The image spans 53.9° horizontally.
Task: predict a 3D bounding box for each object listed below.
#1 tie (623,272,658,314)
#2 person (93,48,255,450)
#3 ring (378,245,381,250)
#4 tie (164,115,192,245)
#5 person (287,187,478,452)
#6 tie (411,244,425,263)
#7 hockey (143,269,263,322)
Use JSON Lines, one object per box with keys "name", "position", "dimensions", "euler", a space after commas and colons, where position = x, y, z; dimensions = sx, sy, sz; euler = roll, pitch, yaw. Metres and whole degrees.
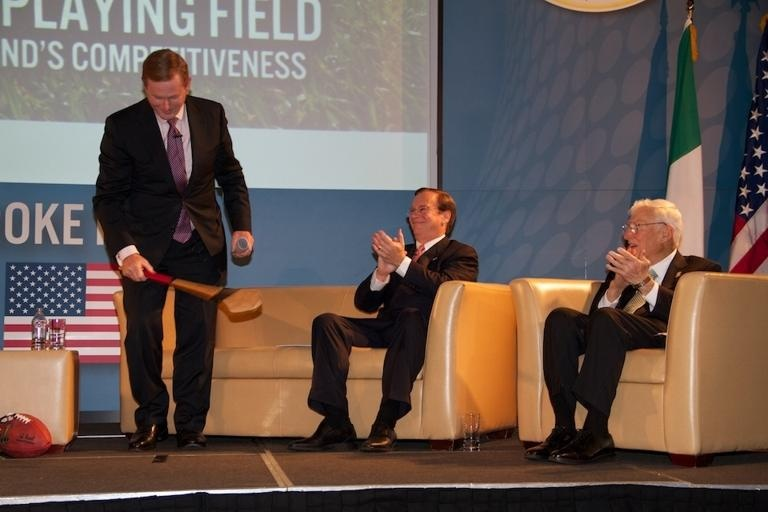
{"name": "tie", "position": [1.340, 0.195, 3.943], "dimensions": [0.090, 0.149, 0.145], "euler": [34, -21, 20]}
{"name": "person", "position": [-1.116, -0.024, 4.080], "dimensions": [0.823, 2.100, 0.479], "euler": [-2, 7, -22]}
{"name": "ring", "position": [-0.025, -0.051, 4.193], "dimensions": [0.018, 0.019, 0.004], "euler": [8, 4, 19]}
{"name": "tie", "position": [-1.115, -0.413, 4.095], "dimensions": [0.108, 0.702, 0.094], "euler": [-1, 7, -4]}
{"name": "person", "position": [0.028, 0.299, 4.201], "dimensions": [0.661, 1.340, 1.163], "euler": [5, 8, 38]}
{"name": "tie", "position": [0.202, -0.022, 4.471], "dimensions": [0.059, 0.031, 0.114], "euler": [3, 50, 26]}
{"name": "hockey", "position": [-0.984, 0.235, 4.116], "dimensions": [0.645, 0.094, 0.241], "euler": [18, 27, 6]}
